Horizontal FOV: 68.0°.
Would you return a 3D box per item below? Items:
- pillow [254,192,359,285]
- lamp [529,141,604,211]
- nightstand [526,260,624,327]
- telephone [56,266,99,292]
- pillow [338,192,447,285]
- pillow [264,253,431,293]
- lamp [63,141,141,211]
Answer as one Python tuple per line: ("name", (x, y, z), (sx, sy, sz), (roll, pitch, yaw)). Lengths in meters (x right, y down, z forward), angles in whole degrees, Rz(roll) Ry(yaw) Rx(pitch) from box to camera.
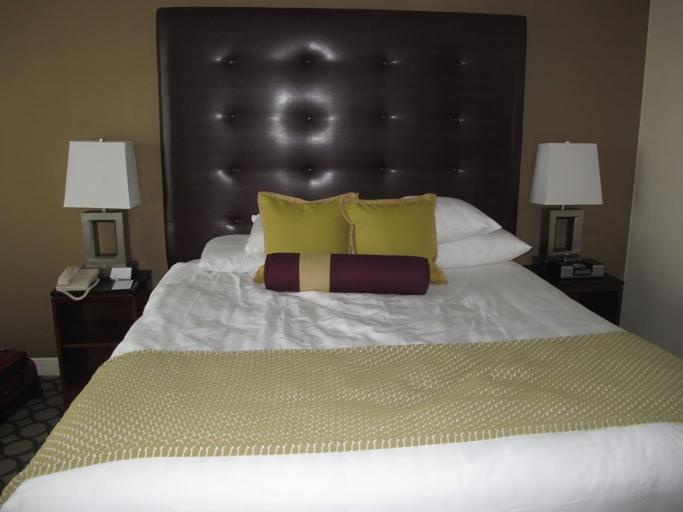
("pillow", (-0.169, -0.071, 2.465), (0.464, 0.408, 0.168), (-2, -31, -7))
("lamp", (1.326, -0.455, 3.151), (0.469, 0.439, 0.374), (1, 4, 6))
("nightstand", (1.356, 0.201, 2.972), (0.527, 0.461, 0.350), (10, 23, 20))
("telephone", (-1.407, 0.122, 2.683), (0.162, 0.047, 0.154), (0, 33, -15))
("pillow", (0.242, -0.070, 2.465), (0.446, 0.378, 0.164), (-4, -22, -4))
("pillow", (0.020, 0.081, 2.453), (0.927, 0.268, 0.256), (0, 5, 0))
("lamp", (-1.268, -0.424, 2.888), (0.464, 0.415, 0.366), (-1, 9, -8))
